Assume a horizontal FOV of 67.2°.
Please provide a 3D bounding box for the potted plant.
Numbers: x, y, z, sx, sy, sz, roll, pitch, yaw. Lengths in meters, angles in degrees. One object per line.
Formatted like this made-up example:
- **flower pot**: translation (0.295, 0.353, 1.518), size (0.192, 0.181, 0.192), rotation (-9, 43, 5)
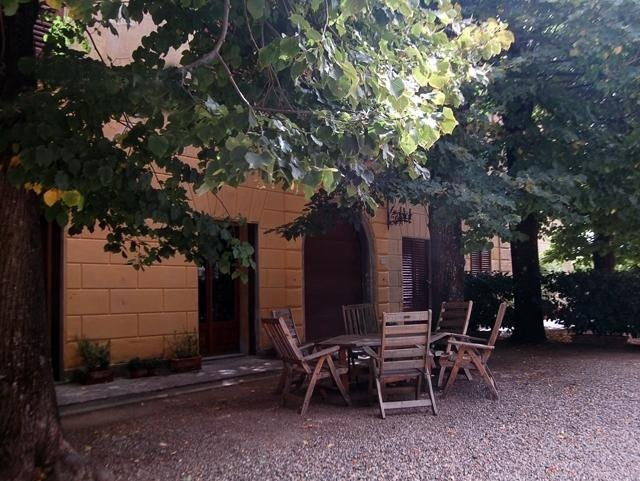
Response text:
- **potted plant**: translation (-3.371, 2.114, 8.993), size (2.255, 0.714, 0.724), rotation (0, -2, -35)
